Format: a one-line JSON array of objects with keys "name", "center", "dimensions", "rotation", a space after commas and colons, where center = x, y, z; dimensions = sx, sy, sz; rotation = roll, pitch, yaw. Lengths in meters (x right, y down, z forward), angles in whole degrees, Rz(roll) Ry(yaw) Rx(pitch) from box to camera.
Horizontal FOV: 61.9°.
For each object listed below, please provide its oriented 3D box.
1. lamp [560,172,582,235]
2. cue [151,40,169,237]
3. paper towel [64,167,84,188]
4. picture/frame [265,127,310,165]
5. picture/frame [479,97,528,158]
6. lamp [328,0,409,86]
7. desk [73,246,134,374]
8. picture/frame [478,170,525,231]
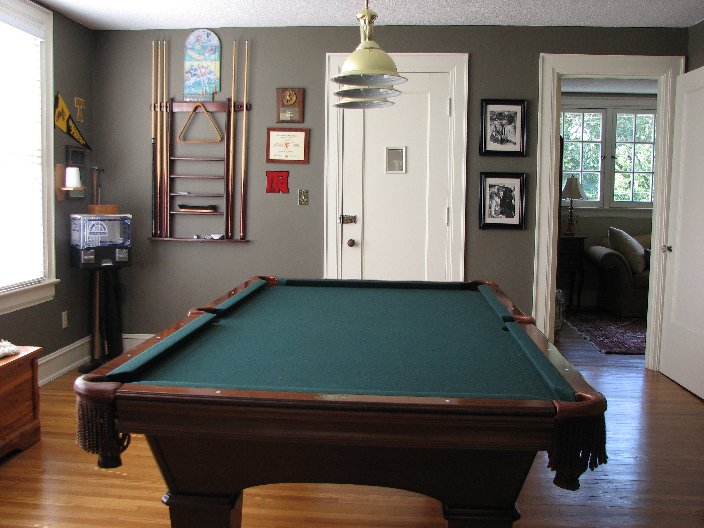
[{"name": "lamp", "center": [2.756, -0.752, 7.340], "dimensions": [0.241, 0.737, 0.606], "rotation": [3, 8, 19]}, {"name": "cue", "center": [-1.656, -1.069, 5.064], "dimensions": [0.174, 1.689, 0.180], "rotation": [0, 8, -2]}, {"name": "paper towel", "center": [-2.268, -0.691, 4.737], "dimensions": [0.124, 0.195, 0.329], "rotation": [-4, 8, -26]}, {"name": "picture/frame", "center": [-0.548, -1.027, 5.025], "dimensions": [0.361, 0.264, 0.033], "rotation": [1, 2, 1]}, {"name": "picture/frame", "center": [1.284, -1.182, 4.976], "dimensions": [0.563, 0.562, 0.045], "rotation": [1, 5, 1]}, {"name": "lamp", "center": [0.100, -1.135, 2.949], "dimensions": [0.303, 0.468, 0.312], "rotation": [5, 9, 28]}, {"name": "desk", "center": [-2.130, 0.371, 4.878], "dimensions": [0.424, 1.017, 0.427], "rotation": [2, -6, -25]}, {"name": "picture/frame", "center": [1.291, -0.567, 5.024], "dimensions": [0.570, 0.574, 0.047], "rotation": [1, 4, 1]}]
